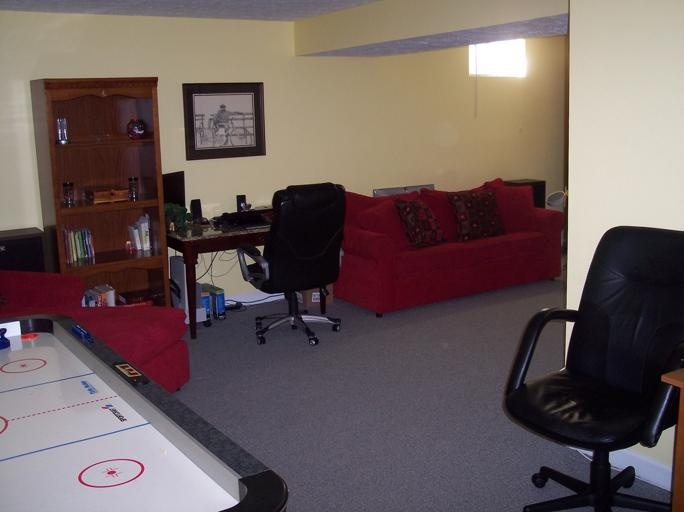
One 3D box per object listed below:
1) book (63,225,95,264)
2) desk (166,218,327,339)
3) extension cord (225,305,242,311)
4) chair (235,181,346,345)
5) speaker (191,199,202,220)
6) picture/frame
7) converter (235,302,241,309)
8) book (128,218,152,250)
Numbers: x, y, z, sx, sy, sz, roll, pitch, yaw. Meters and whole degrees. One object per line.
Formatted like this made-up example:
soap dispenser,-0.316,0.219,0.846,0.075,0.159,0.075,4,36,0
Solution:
book,-2.324,-0.079,4.573,0.219,0.282,0.180,-6,15,-21
desk,-1.110,0.202,5.522,0.965,1.024,1.387,-6,7,-10
extension cord,-1.174,0.558,5.589,0.081,0.041,0.111,-2,1,-33
chair,-0.476,0.034,4.806,0.922,1.481,0.949,-4,15,-18
speaker,-1.509,-0.478,5.328,0.111,0.204,0.174,-5,15,-18
picture/frame,-1.295,-1.447,5.461,0.800,0.731,0.069,-6,10,-31
converter,-1.116,0.537,5.574,0.053,0.057,0.099,0,-5,-9
book,-1.910,-0.199,4.898,0.138,0.253,0.246,-9,13,-33
